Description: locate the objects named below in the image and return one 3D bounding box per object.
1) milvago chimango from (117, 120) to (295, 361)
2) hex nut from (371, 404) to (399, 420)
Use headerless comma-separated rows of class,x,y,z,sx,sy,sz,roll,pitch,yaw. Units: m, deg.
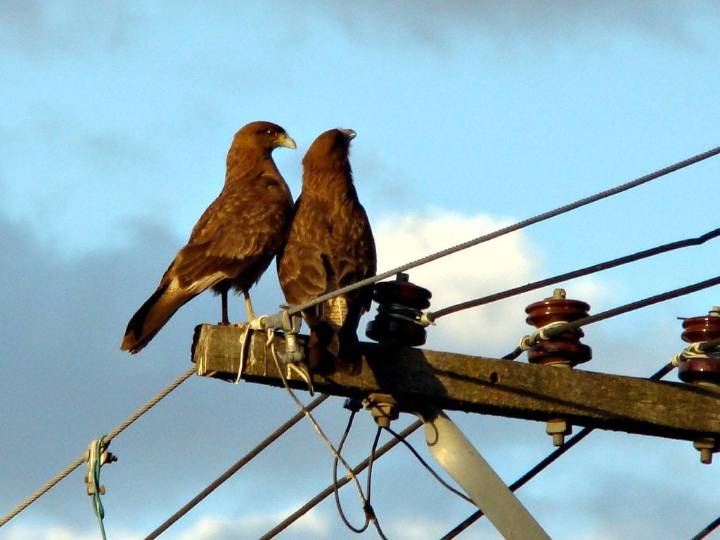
milvago chimango,-0.937,-0.220,12.631,1.271,2.231,0.543,-2,-46,-12
hex nut,0.128,0.807,10.896,0.139,0.052,0.138,2,-4,-30
